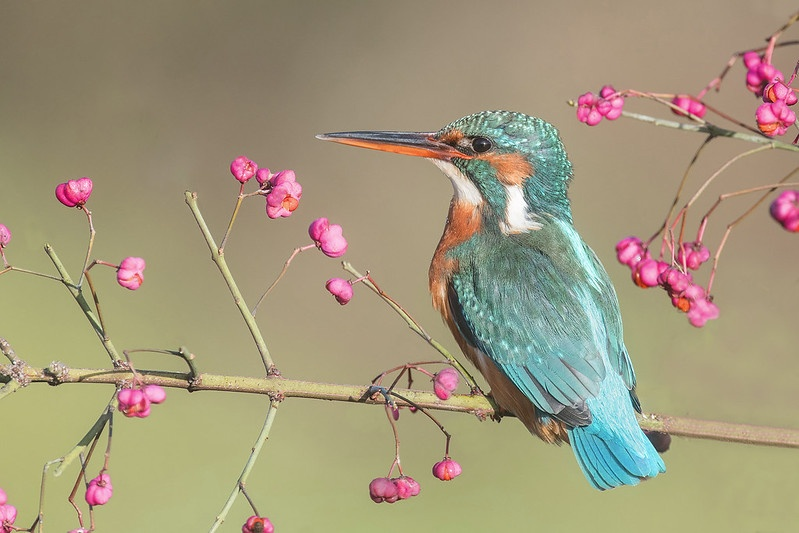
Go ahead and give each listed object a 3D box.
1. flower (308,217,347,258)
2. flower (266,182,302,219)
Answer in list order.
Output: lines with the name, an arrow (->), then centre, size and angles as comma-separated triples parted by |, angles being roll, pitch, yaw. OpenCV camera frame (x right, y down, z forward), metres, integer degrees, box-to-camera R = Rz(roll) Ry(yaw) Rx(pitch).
flower -> -0.387, -0.128, 5.343 | 0.198, 0.238, 0.202 | -3, -52, 0
flower -> -0.608, -0.340, 5.256 | 0.165, 0.193, 0.216 | 9, -53, -10
